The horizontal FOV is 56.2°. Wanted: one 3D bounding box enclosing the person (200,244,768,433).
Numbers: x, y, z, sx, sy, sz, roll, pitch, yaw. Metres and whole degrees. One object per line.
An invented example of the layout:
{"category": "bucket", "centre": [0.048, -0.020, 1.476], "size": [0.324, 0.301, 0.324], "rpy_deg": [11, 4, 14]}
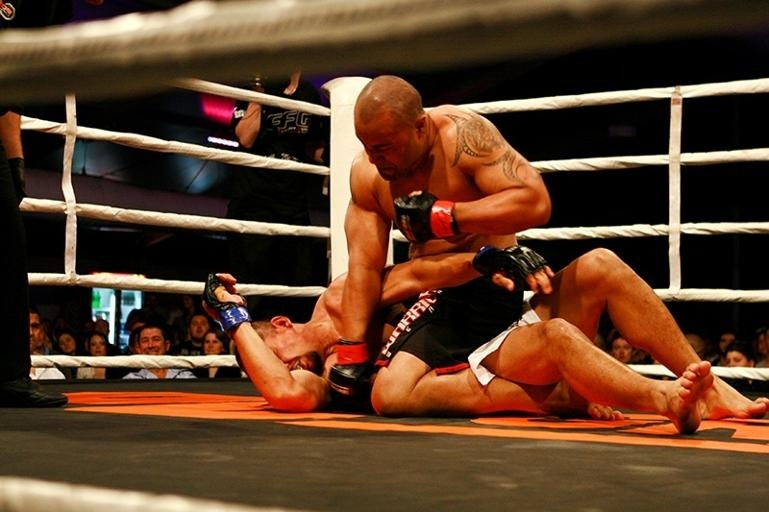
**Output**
{"category": "person", "centre": [0.226, 0.332, 2.195], "size": [1.314, 0.332, 0.784], "rpy_deg": [-9, -21, 25]}
